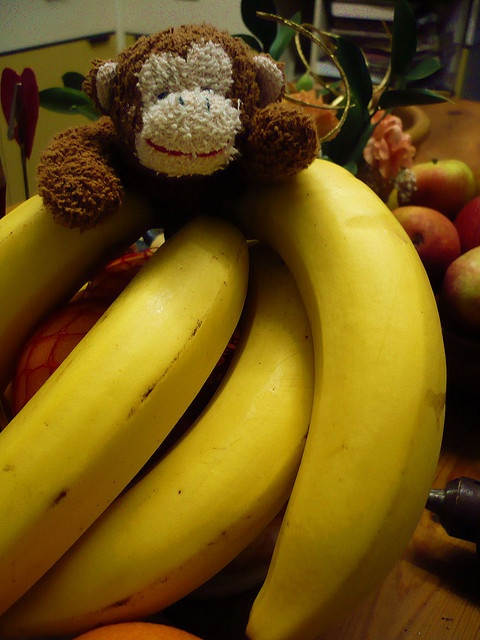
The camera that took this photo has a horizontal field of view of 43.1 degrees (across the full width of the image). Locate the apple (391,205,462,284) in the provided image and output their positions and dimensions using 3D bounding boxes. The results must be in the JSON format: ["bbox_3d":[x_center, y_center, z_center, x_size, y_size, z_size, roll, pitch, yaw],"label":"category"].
[{"bbox_3d":[0.275,-0.119,0.927,0.104,0.106,0.107,-6,16,36],"label":"apple"}]

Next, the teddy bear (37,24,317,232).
[{"bbox_3d":[-0.053,-0.169,0.527,0.213,0.156,0.136,-4,18,-6],"label":"teddy bear"}]
